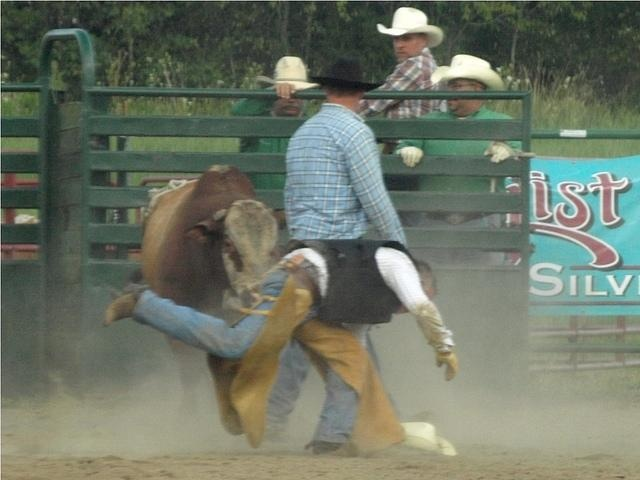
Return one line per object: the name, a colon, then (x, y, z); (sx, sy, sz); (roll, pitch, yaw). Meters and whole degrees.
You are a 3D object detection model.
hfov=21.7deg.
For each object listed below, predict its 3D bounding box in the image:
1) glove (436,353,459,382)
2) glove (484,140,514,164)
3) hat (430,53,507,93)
glove: (1.271, 1.227, 16.361); (0.109, 0.303, 0.232); (-10, 22, -10)
glove: (1.893, -0.929, 17.672); (0.318, 0.222, 0.119); (0, 4, -8)
hat: (1.661, -1.742, 18.005); (0.582, 0.227, 0.474); (15, -5, -27)
